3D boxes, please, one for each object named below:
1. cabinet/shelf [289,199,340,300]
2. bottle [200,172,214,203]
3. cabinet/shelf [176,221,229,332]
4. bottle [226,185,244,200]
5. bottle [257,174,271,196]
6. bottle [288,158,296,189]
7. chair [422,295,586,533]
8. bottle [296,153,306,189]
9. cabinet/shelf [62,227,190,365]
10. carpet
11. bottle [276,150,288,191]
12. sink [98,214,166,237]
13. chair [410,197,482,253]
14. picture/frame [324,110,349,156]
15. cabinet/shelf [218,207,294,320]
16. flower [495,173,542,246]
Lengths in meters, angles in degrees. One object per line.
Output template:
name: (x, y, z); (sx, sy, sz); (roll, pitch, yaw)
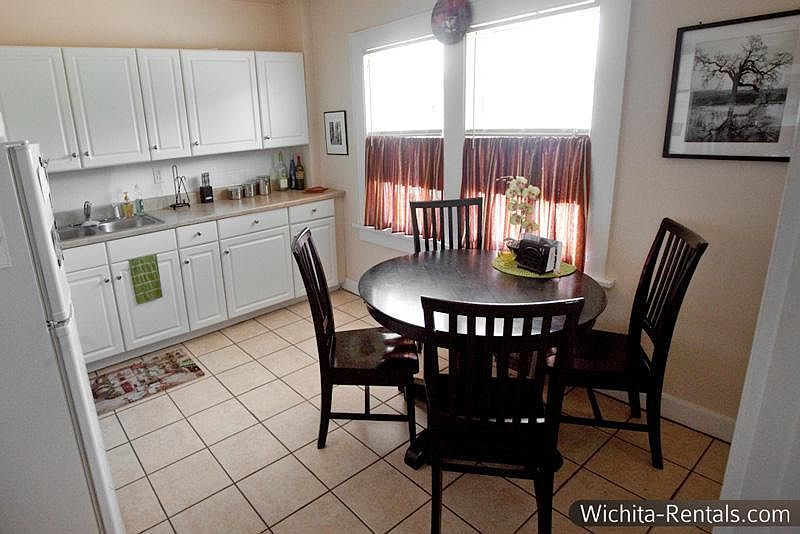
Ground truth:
cabinet/shelf: (-0.719, -0.084, 5.200); (0.543, 0.968, 0.613); (-11, -20, 11)
bottle: (-1.770, -0.727, 4.781); (0.106, 0.258, 0.193); (-2, 19, 3)
cabinet/shelf: (-1.592, 0.193, 4.508); (0.404, 0.784, 0.411); (-11, -18, -10)
bottle: (-1.533, -0.685, 4.884); (0.141, 0.133, 0.139); (16, 29, 22)
bottle: (-1.323, -0.798, 5.097); (0.120, 0.163, 0.230); (-6, 19, -11)
bottle: (-1.081, -0.928, 5.230); (0.101, 0.289, 0.168); (-6, 20, -10)
chair: (0.485, 0.718, 2.646); (0.711, 1.314, 0.536); (-2, 20, 2)
bottle: (-0.998, -0.938, 5.217); (0.106, 0.310, 0.176); (-4, 19, -3)
cabinet/shelf: (-2.165, 0.289, 4.190); (0.925, 0.867, 0.535); (-13, -7, -8)
carpet: (-1.925, 0.826, 3.927); (0.552, 0.005, 0.375); (-15, 28, -36)
bottle: (-1.168, -0.945, 5.187); (0.110, 0.352, 0.169); (-6, 20, -10)
sink: (-2.238, -0.348, 4.296); (0.342, 0.135, 0.290); (-18, 40, -32)
chair: (0.364, -0.276, 3.957); (0.524, 0.514, 0.931); (0, 19, 6)
picture/frame: (-0.593, -1.274, 4.945); (0.364, 0.438, 0.030); (20, 30, 38)
cabinet/shelf: (-1.220, 0.118, 4.855); (0.774, 0.680, 0.919); (-10, 63, -12)
flower: (0.827, -0.389, 3.586); (0.266, 0.495, 0.542); (1, 19, 11)
